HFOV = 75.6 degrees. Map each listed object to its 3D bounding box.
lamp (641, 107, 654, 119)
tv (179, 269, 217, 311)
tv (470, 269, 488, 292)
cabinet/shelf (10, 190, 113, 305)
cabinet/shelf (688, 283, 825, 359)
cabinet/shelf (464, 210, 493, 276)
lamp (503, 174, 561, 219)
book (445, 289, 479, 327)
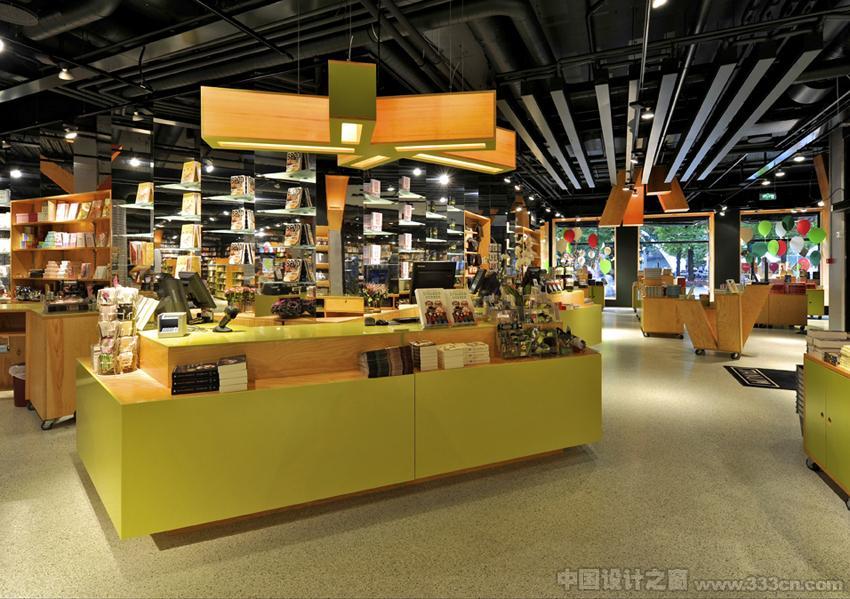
[{"bbox_3d":[3.572,-2.971,8.799,0.197,0.055,0.221,-2,-2,26],"label":"lamp"},{"bbox_3d":[-2.464,-0.089,5.927,0.424,0.376,0.111,8,31,29],"label":"tv"},{"bbox_3d":[0.707,-0.239,7.346,0.069,0.267,0.285,29,11,0],"label":"tv"},{"bbox_3d":[-6.033,-0.836,9.124,1.962,1.648,0.456,-2,-4,30],"label":"cabinet/shelf"},{"bbox_3d":[7.217,0.244,12.070,2.843,1.381,6.101,3,5,25],"label":"cabinet/shelf"},{"bbox_3d":[1.264,-1.398,13.223,0.578,1.299,0.935,3,5,21],"label":"cabinet/shelf"},{"bbox_3d":[3.139,-3.071,16.124,0.348,0.191,4.075,25,12,24],"label":"lamp"},{"bbox_3d":[0.379,0.105,5.857,0.425,0.542,0.074,2,-31,-27],"label":"book"}]
